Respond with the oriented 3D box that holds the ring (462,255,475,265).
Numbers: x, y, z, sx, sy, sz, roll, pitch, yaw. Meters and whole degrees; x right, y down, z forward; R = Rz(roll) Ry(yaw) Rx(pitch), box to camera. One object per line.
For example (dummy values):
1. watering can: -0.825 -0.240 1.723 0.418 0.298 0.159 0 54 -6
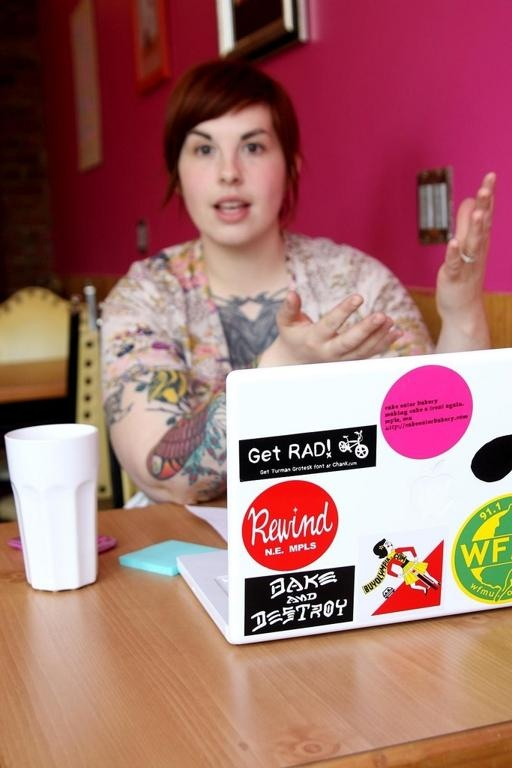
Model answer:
1. ring: 0.302 -0.176 0.888 0.012 0.013 0.009 1 -14 -38
